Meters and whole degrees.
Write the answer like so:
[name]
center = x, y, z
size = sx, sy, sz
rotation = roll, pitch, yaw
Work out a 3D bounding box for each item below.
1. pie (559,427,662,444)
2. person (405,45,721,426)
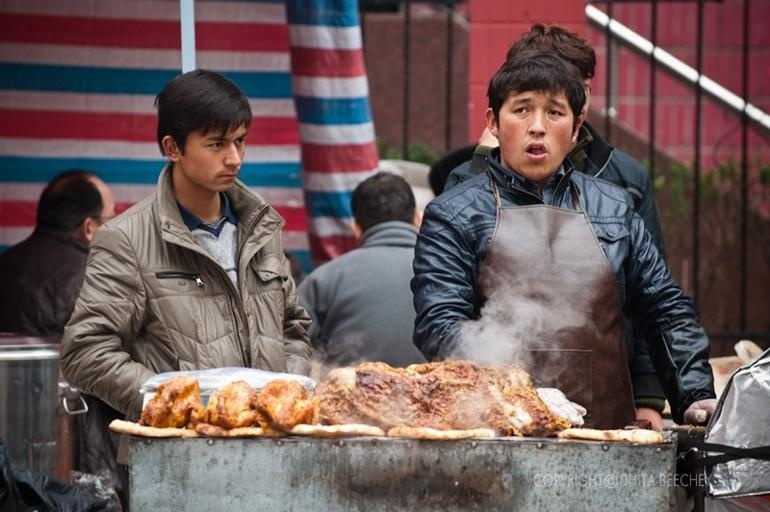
[pie]
center = 1.060, 0.844, 6.104
size = 0.495, 0.092, 0.145
rotation = -3, -4, 2
[person]
center = 0.871, -0.091, 6.634
size = 1.481, 1.950, 0.427
rotation = -3, -3, 2
